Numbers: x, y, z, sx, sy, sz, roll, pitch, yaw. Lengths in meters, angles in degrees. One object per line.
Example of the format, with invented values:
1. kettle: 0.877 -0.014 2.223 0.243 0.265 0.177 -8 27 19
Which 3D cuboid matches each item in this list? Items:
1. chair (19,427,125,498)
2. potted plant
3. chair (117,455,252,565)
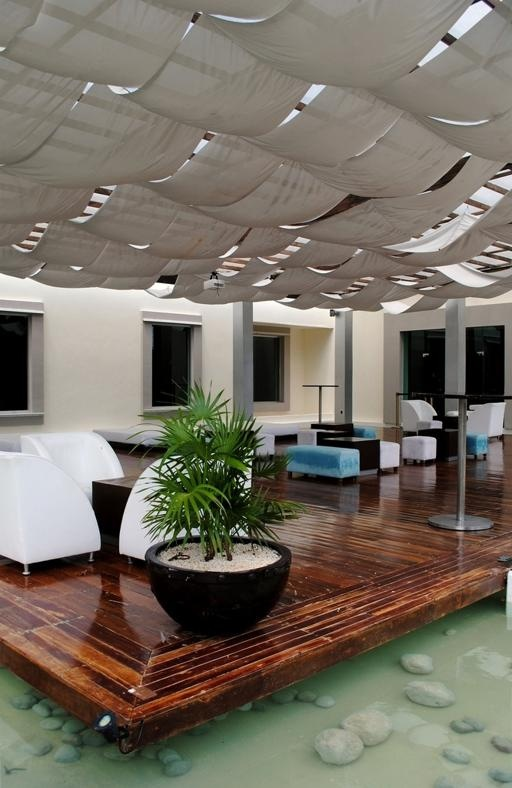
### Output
1. chair: -1.633 0.556 4.703 0.602 0.821 0.649 1 -5 -42
2. potted plant: -0.136 0.498 2.120 0.625 1.044 0.559 -3 2 -14
3. chair: -0.553 0.723 3.475 0.673 0.874 0.645 -4 -9 41
